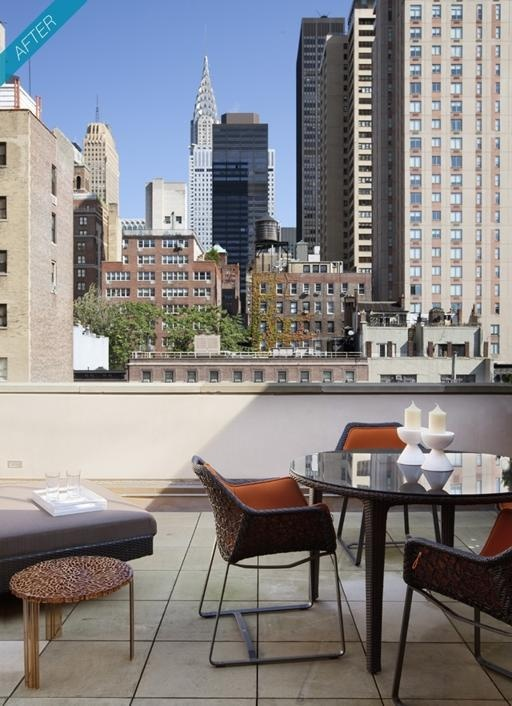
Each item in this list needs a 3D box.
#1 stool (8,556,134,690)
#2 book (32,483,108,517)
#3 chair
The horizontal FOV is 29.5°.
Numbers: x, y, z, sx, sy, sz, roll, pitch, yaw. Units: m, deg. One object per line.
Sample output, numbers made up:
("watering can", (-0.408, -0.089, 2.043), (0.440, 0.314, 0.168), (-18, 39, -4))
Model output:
("stool", (-0.750, 1.254, 4.398), (0.504, 0.453, 0.517), (0, 4, 3))
("book", (-0.967, 0.806, 5.229), (0.204, 0.059, 0.227), (-3, 9, -28))
("chair", (0.438, 0.797, 4.450), (1.029, 0.678, 1.133), (-1, 3, -6))
